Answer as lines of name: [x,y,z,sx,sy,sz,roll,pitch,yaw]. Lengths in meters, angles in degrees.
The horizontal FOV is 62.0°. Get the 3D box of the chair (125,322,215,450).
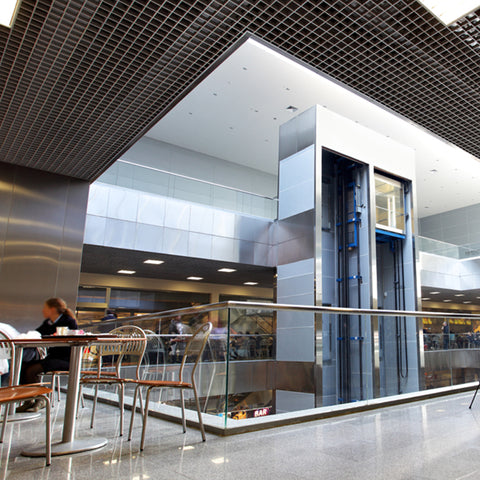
chair: [-0.538,1.060,3.091,0.564,0.871,1.263,5,-10,-13]

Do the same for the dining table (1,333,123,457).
dining table: [-1.047,0.978,2.852,0.887,0.758,0.875,12,-19,-42]

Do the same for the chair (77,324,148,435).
chair: [-1.251,1.205,3.462,0.417,0.643,0.406,-13,-50,-30]

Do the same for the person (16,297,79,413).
person: [-1.913,1.106,3.916,0.394,0.985,0.604,-9,-8,36]
